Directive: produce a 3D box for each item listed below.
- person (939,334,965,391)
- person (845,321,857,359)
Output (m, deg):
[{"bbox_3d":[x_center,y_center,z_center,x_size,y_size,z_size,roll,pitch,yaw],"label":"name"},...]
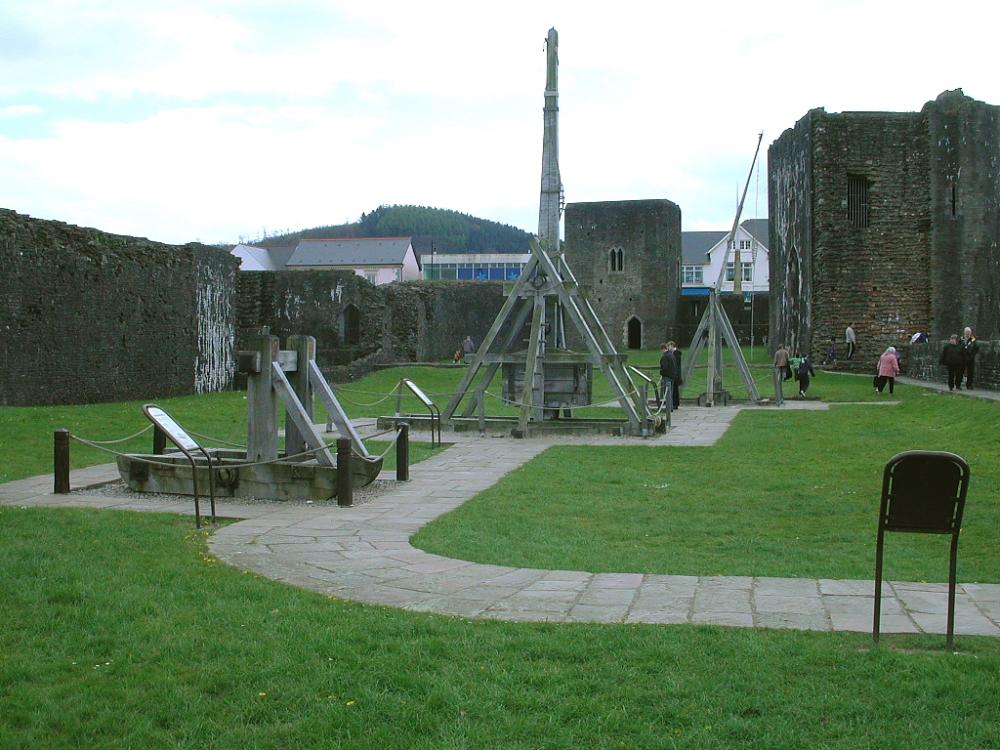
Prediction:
[{"bbox_3d":[11.550,-0.331,29.661,0.586,1.358,2.089,-1,3,21],"label":"person"},{"bbox_3d":[13.151,-1.252,43.555,0.397,1.293,1.407,-1,3,17],"label":"person"}]
